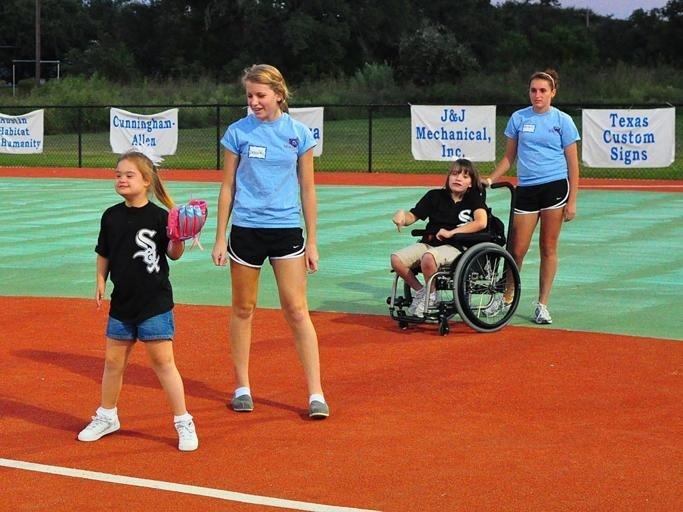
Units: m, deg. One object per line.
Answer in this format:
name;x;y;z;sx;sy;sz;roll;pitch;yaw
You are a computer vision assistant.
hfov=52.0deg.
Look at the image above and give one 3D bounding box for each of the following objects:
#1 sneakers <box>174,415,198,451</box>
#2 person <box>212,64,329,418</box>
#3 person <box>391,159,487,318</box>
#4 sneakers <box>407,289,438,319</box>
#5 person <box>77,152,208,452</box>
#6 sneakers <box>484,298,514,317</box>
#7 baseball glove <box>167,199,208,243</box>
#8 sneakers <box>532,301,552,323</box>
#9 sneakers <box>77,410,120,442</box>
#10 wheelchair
sneakers;-1.006;1.139;4.534;0.101;0.109;0.290;-6;13;-7
person;-0.503;-0.089;4.957;0.796;2.466;0.549;-1;12;-3
person;1.009;-0.178;7.114;0.987;1.581;0.600;-8;13;-30
sneakers;0.808;0.475;7.006;0.174;0.166;0.365;11;40;32
person;-1.321;0.269;4.632;0.871;1.880;0.579;2;12;12
sneakers;1.661;0.542;7.489;0.331;0.145;0.133;-5;17;24
baseball glove;-0.966;-0.237;4.408;0.216;0.271;0.133;6;20;-24
sneakers;2.111;0.613;7.377;0.124;0.137;0.307;0;-2;3
sneakers;-1.618;1.110;4.684;0.145;0.176;0.365;5;3;20
wheelchair;1.268;-0.010;7.326;1.247;1.441;1.113;-11;13;-31
